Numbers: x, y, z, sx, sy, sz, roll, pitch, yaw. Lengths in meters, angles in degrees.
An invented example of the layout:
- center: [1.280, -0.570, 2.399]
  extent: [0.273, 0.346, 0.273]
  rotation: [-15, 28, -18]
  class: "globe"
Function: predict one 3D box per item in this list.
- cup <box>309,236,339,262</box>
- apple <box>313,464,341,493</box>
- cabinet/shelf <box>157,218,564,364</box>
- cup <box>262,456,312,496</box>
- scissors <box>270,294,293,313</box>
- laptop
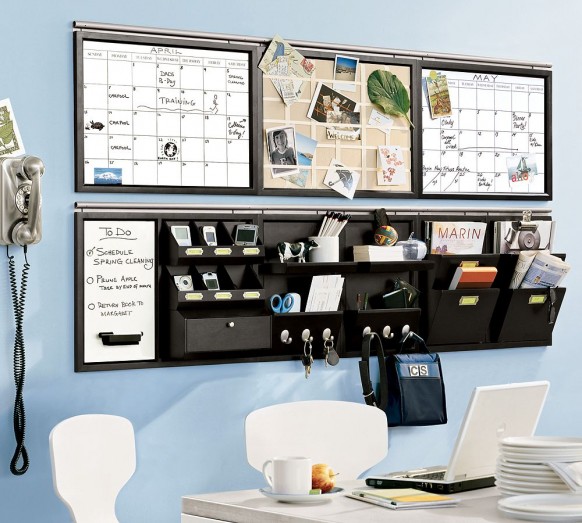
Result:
- center: [0.149, -0.047, 3.238]
  extent: [0.100, 0.092, 0.102]
  rotation: [1, -2, 0]
  class: "cup"
- center: [0.108, 0.618, 2.101]
  extent: [0.076, 0.070, 0.066]
  rotation: [-20, 13, 13]
  class: "apple"
- center: [0.294, 0.117, 3.289]
  extent: [1.739, 0.622, 0.302]
  rotation: [-3, 12, -21]
  class: "cabinet/shelf"
- center: [-0.012, 0.576, 2.049]
  extent: [0.123, 0.098, 0.082]
  rotation: [-3, -5, 27]
  class: "cup"
- center: [-0.033, 0.175, 3.118]
  extent: [0.092, 0.066, 0.065]
  rotation: [3, 12, 4]
  class: "scissors"
- center: [0.528, 0.433, 2.207]
  extent: [0.340, 0.310, 0.383]
  rotation: [-7, -9, 43]
  class: "laptop"
